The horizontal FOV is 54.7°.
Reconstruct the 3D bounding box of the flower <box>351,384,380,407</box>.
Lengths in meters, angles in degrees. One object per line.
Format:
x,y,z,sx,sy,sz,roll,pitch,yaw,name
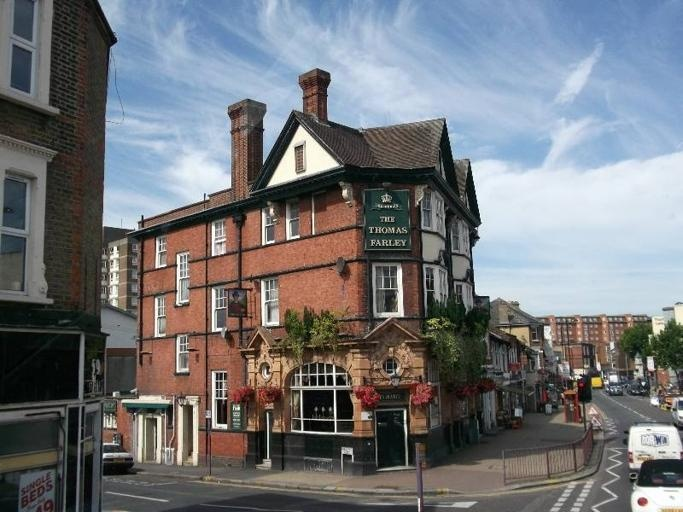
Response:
1.007,5.842,27.793,0.891,0.694,0.888,4,-5,-38,flower

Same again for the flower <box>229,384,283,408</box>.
-3.835,6.918,31.595,1.722,0.891,1.374,8,-10,-37,flower

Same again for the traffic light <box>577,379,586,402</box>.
11.793,6.444,32.146,0.371,0.988,0.606,-5,-11,15,traffic light

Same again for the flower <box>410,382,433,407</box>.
3.492,5.916,28.252,0.867,0.812,0.905,1,-10,-19,flower
